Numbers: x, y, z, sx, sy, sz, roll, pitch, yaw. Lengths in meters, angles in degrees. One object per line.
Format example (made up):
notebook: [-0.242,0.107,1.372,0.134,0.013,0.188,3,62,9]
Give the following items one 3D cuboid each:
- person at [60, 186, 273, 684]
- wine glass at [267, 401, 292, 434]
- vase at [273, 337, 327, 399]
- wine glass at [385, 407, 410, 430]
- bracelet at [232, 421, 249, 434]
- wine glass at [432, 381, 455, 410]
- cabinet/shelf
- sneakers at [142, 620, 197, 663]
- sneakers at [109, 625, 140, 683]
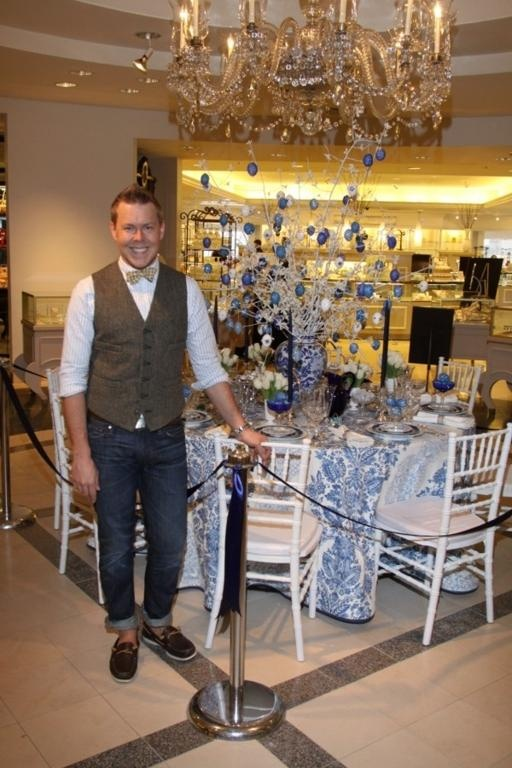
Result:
person: [-0.329,0.194,1.952,0.598,1.597,0.351,0,3,-17]
wine glass: [0.115,0.152,2.656,0.120,0.130,0.117,-1,5,12]
vase: [0.228,-0.077,2.874,0.246,0.307,0.265,-7,7,-28]
wine glass: [0.620,0.157,2.613,0.108,0.120,0.109,-6,-6,14]
bracelet: [-0.049,0.141,1.912,0.051,0.031,0.049,-15,-23,-36]
wine glass: [1.001,0.082,3.202,0.146,0.068,0.189,1,21,21]
cabinet/shelf: [-0.703,-2.434,10.111,0.628,0.998,0.585,-6,1,-12]
sneakers: [-0.320,0.926,2.208,0.242,0.090,0.089,8,7,43]
sneakers: [-0.462,0.942,2.065,0.093,0.077,0.261,5,7,-8]
